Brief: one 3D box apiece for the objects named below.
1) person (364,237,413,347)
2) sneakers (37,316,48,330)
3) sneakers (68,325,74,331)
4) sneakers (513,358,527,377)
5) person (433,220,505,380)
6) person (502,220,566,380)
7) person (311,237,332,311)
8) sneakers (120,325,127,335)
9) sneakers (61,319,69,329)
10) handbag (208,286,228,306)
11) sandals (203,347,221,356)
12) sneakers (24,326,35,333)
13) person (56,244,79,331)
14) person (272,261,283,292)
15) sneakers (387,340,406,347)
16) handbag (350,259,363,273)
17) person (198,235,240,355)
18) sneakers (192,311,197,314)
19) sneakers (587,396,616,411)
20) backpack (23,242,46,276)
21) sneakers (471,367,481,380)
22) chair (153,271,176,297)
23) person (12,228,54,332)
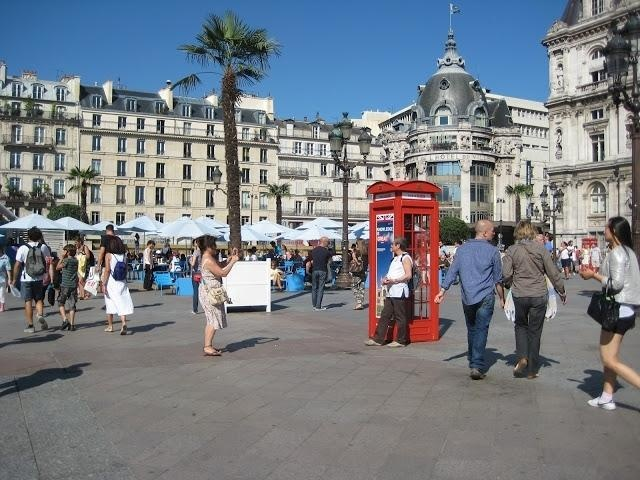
[{"bbox_3d":[1.329,0.993,12.125,0.873,2.081,0.812,0,2,7],"label":"person"},{"bbox_3d":[-6.191,1.863,14.193,0.115,0.301,0.122,-23,32,-28],"label":"sneakers"},{"bbox_3d":[-5.525,1.949,14.148,0.135,0.109,0.234,-1,3,-24],"label":"sneakers"},{"bbox_3d":[3.075,1.967,9.740,0.100,0.301,0.130,8,31,1],"label":"sneakers"},{"bbox_3d":[2.479,0.896,10.208,0.914,2.428,1.265,1,2,16],"label":"person"},{"bbox_3d":[3.259,1.066,9.809,0.868,2.073,0.663,1,2,19],"label":"person"},{"bbox_3d":[0.011,0.929,17.753,0.572,2.035,0.581,-1,-10,25],"label":"person"},{"bbox_3d":[-4.177,1.929,13.507,0.098,0.118,0.286,4,-27,-15],"label":"sneakers"},{"bbox_3d":[-5.652,1.894,14.121,0.110,0.130,0.295,-6,-35,-45],"label":"sneakers"},{"bbox_3d":[-1.767,1.007,11.265,0.212,0.340,0.353,1,3,32],"label":"handbag"},{"bbox_3d":[-1.906,1.987,11.327,0.322,0.139,0.236,0,3,-10],"label":"sandals"},{"bbox_3d":[-6.336,1.935,13.883,0.116,0.150,0.325,3,1,-27],"label":"sneakers"},{"bbox_3d":[-5.672,1.047,14.322,0.415,1.893,0.733,-1,3,-23],"label":"person"},{"bbox_3d":[-1.655,1.374,24.418,0.422,1.109,0.957,0,2,-7],"label":"person"},{"bbox_3d":[1.460,1.956,12.049,0.289,0.132,0.125,-8,3,-18],"label":"sneakers"},{"bbox_3d":[1.009,0.719,17.560,0.350,0.380,0.269,-3,9,-7],"label":"handbag"},{"bbox_3d":[-1.878,0.989,11.535,0.597,2.123,0.770,-1,2,-11],"label":"person"},{"bbox_3d":[-3.364,1.945,17.045,0.051,0.069,0.150,7,-9,-34],"label":"sneakers"},{"bbox_3d":[3.679,2.134,8.353,0.367,0.182,0.142,5,4,45],"label":"sneakers"},{"bbox_3d":[-6.349,0.489,14.199,0.427,0.727,0.523,-1,3,-26],"label":"backpack"},{"bbox_3d":[2.388,2.039,9.700,0.186,0.167,0.148,1,3,13],"label":"sneakers"},{"bbox_3d":[-5.682,1.554,23.321,0.738,0.803,1.389,1,-3,-20],"label":"chair"},{"bbox_3d":[-6.463,0.877,14.343,0.762,2.346,0.885,0,-1,-9],"label":"person"}]
